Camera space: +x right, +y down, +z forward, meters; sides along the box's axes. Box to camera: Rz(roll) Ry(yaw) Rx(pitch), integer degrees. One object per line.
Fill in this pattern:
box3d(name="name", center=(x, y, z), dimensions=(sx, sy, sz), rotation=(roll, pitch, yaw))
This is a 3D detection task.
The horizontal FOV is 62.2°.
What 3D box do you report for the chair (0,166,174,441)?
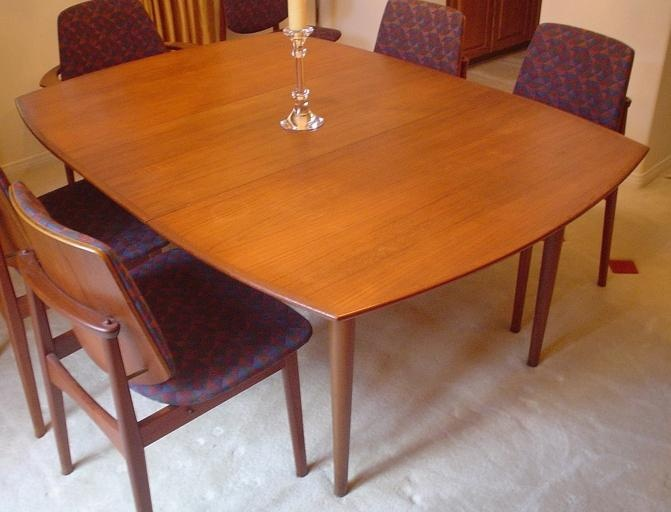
box3d(name="chair", center=(-0.664, 0.137, 1.504), dimensions=(0.444, 0.717, 0.395), rotation=(-32, 68, -32))
